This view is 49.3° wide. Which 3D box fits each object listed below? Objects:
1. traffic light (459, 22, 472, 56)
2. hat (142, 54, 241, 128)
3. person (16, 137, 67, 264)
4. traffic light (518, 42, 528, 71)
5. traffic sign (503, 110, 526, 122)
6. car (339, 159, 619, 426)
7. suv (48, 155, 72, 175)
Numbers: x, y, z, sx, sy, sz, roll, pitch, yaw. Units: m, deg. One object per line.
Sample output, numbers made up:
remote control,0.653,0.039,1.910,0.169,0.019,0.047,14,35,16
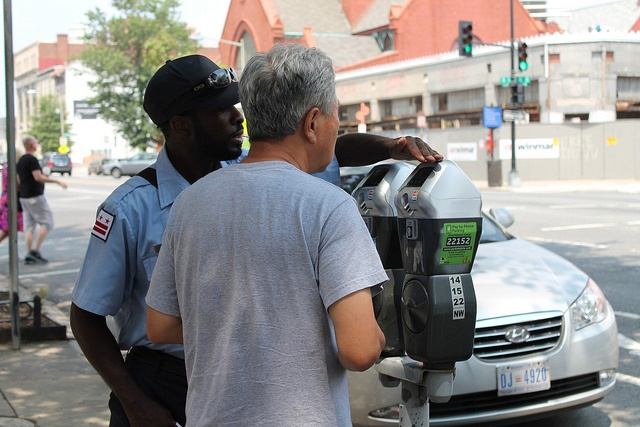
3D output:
traffic light,4.568,-5.504,21.804,0.380,1.034,0.963,-2,3,8
hat,-0.776,-0.761,4.242,0.518,0.310,0.387,-27,9,9
person,-5.017,-0.214,12.199,0.520,1.514,0.883,-4,3,-23
traffic light,7.208,-5.580,24.658,0.258,0.991,0.920,-2,3,19
traffic sign,7.582,-3.791,27.011,0.880,0.549,0.255,6,19,-6
car,1.359,0.668,6.522,1.604,1.257,2.621,-3,2,-19
suv,-14.755,-2.602,39.083,1.368,1.269,3.049,-2,8,-17
